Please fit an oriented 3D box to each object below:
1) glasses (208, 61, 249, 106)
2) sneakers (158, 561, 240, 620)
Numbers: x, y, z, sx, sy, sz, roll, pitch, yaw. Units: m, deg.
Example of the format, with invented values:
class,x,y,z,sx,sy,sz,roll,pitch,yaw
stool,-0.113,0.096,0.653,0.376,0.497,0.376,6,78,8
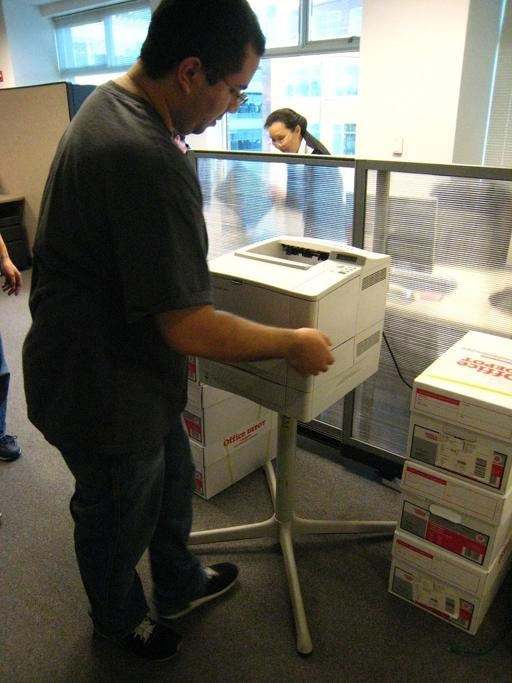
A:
class,x,y,z,sx,sy,sz,roll,pitch,yaw
glasses,-0.053,-0.464,0.967,0.015,0.050,0.048,-34,42,-16
sneakers,-0.160,0.697,1.580,0.088,0.093,0.244,12,26,35
